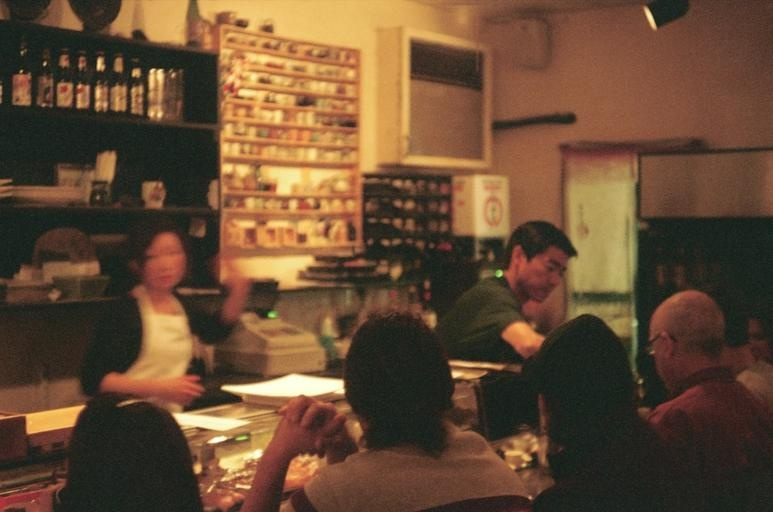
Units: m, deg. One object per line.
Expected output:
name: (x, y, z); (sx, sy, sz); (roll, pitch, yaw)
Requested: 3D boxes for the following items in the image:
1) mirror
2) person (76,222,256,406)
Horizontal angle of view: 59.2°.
mirror: (0.445, -1.219, 5.232); (1.232, 1.311, 0.110); (1, -2, -33)
person: (-1.199, 0.297, 3.715); (0.650, 0.946, 0.718); (3, 3, 9)
